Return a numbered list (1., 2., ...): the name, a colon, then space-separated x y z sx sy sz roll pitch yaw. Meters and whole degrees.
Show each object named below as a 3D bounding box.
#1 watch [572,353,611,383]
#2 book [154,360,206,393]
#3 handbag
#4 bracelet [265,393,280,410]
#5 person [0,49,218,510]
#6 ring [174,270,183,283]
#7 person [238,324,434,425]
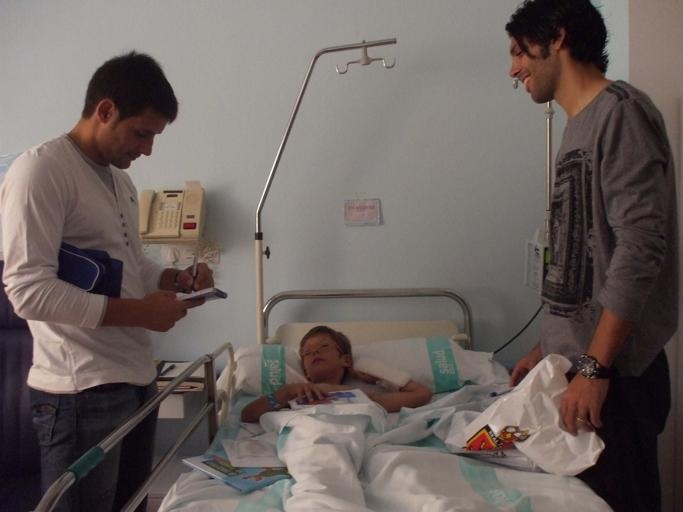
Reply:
1. watch: 0.663 0.301 1.434 0.070 0.076 0.070 7 3 -9
2. book: -0.805 0.610 2.683 0.266 0.068 0.277 -1 12 -6
3. handbag: -0.735 0.059 1.575 0.075 0.154 0.201 -37 -39 13
4. bracelet: -0.274 0.590 2.139 0.057 0.018 0.041 14 29 -43
5. person: -0.745 0.134 1.685 0.542 1.559 0.427 -3 5 -35
6. ring: -0.584 0.074 1.913 0.025 0.037 0.013 1 -14 24
7. person: -0.047 0.551 2.463 0.885 0.438 0.405 -9 -14 0
